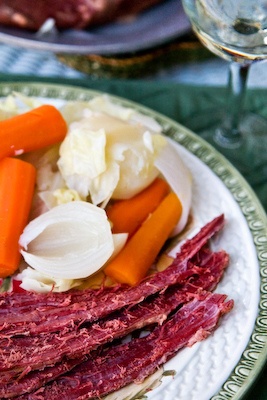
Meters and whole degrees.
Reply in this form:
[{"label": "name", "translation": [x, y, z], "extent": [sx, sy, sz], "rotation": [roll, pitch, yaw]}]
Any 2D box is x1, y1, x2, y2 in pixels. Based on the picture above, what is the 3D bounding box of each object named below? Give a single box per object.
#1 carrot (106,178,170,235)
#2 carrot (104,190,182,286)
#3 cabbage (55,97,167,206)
[{"label": "carrot", "translation": [-0.001, 0.013, 0.911], "extent": [0.171, 0.067, 0.073], "rotation": [-38, 77, -21]}, {"label": "carrot", "translation": [0.034, 0.079, 0.859], "extent": [0.092, 0.088, 0.245], "rotation": [29, 57, 9]}, {"label": "cabbage", "translation": [-0.090, -0.118, 0.892], "extent": [0.278, 0.181, 0.191], "rotation": [24, 37, 35]}]
